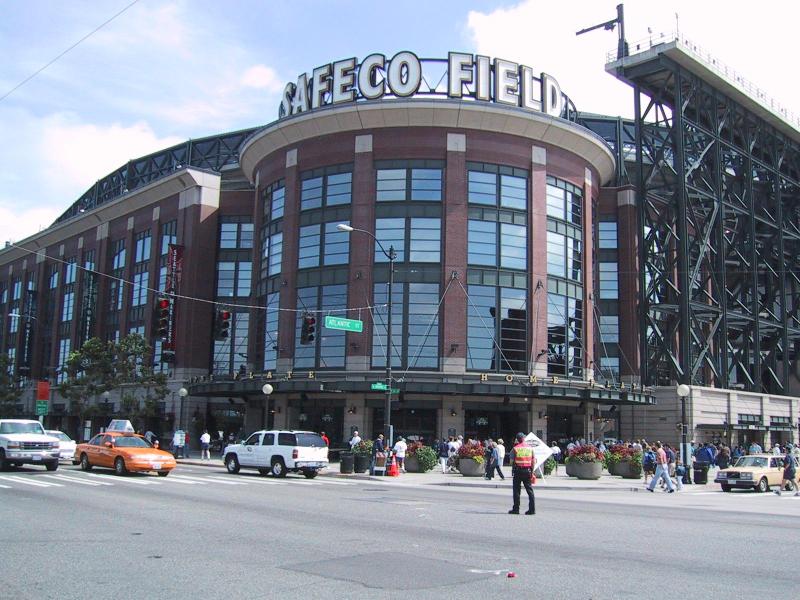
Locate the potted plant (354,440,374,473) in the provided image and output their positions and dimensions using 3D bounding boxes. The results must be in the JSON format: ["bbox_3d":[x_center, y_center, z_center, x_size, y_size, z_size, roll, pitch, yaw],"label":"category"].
[{"bbox_3d":[-1.990,7.882,45.944,1.258,1.302,1.202,-10,-15,39],"label":"potted plant"}]

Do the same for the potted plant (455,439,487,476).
[{"bbox_3d":[3.499,7.896,45.408,1.578,1.664,1.653,10,-14,-24],"label":"potted plant"}]

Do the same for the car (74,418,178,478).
[{"bbox_3d":[-12.510,6.721,41.596,5.842,2.082,2.427,-5,-10,43],"label":"car"}]

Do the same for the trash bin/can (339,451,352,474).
[{"bbox_3d":[-2.603,7.948,45.162,0.626,1.099,0.717,3,-13,-6],"label":"trash bin/can"}]

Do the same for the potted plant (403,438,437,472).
[{"bbox_3d":[1.010,7.937,47.043,1.483,1.213,1.660,-2,-9,16],"label":"potted plant"}]
